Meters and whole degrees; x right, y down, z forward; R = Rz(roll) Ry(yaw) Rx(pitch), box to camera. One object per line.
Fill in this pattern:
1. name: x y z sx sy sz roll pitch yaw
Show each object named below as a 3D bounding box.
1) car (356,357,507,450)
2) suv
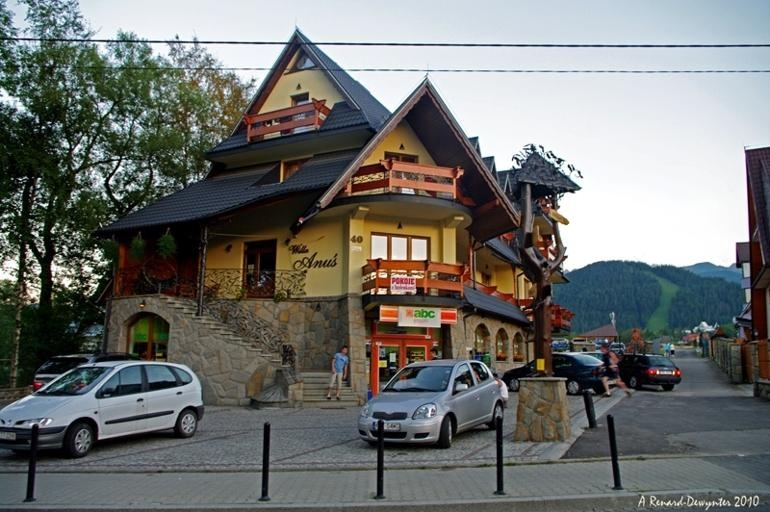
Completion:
1. car: 1.576 4.721 21.405 4.818 2.688 2.110 9 -14 -40
2. suv: -11.859 5.006 26.862 2.121 1.545 4.204 -1 0 37
